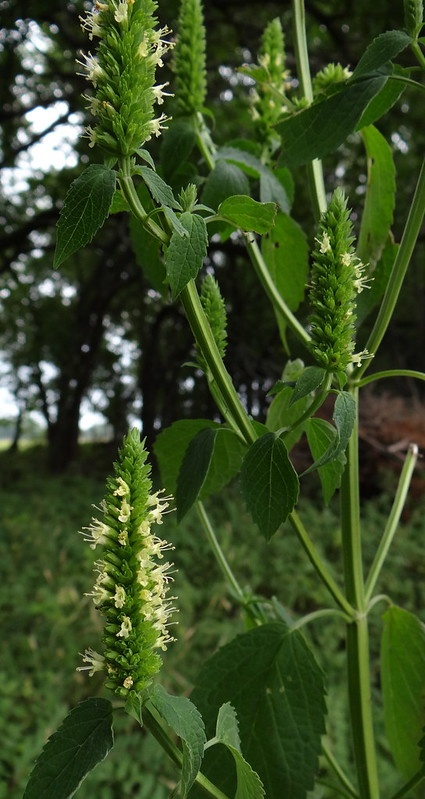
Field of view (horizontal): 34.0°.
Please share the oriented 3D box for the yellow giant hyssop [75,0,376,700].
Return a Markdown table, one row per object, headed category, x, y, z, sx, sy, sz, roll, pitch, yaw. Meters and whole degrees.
| category | x | y | z | sx | sy | sz | roll | pitch | yaw |
| --- | --- | --- | --- | --- | --- | --- | --- | --- | --- |
| yellow giant hyssop | 0.023 | 0.029 | 0.628 | 0.219 | 0.677 | 0.204 | -8 | 14 | -8 |
